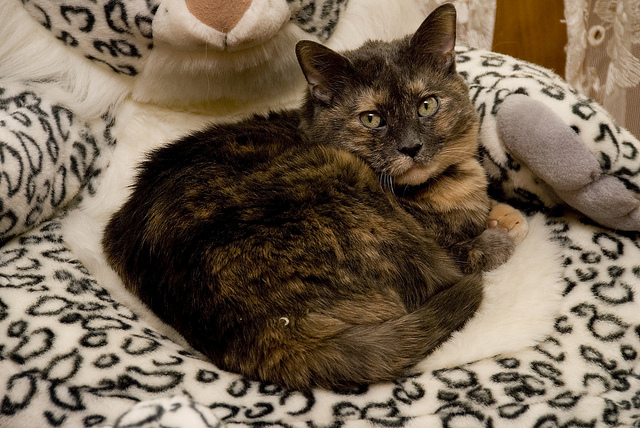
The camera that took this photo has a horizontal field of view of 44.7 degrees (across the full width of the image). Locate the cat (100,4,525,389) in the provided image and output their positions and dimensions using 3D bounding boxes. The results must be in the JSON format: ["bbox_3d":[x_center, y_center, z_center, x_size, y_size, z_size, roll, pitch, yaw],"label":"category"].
[{"bbox_3d":[0.003,-0.060,2.478,1.284,0.989,1.023,-2,40,-19],"label":"cat"}]
